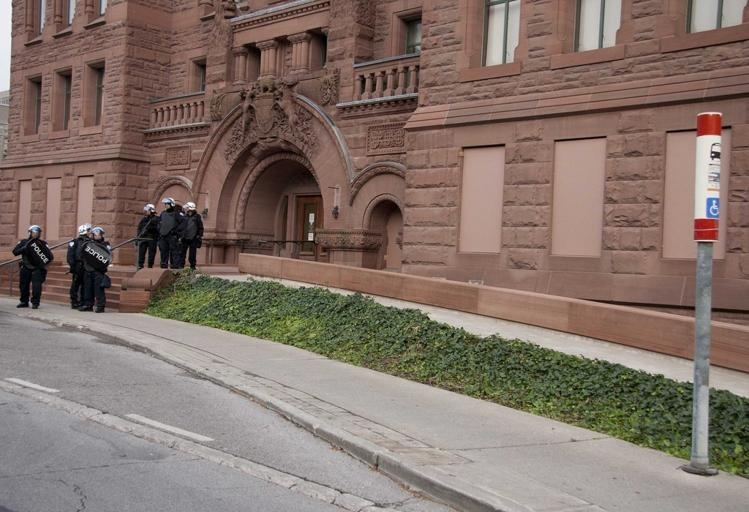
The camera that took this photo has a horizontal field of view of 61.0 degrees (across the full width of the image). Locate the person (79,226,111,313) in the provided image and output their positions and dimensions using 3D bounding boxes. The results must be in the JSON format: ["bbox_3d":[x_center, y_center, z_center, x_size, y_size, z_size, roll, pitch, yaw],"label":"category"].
[{"bbox_3d":[-8.438,0.448,19.265,0.826,2.534,1.047,0,5,-24],"label":"person"}]

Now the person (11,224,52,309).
[{"bbox_3d":[-10.594,0.360,19.722,1.071,2.539,0.804,4,5,16],"label":"person"}]

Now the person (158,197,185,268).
[{"bbox_3d":[-7.266,-0.799,22.698,0.811,2.488,1.271,1,5,-18],"label":"person"}]
